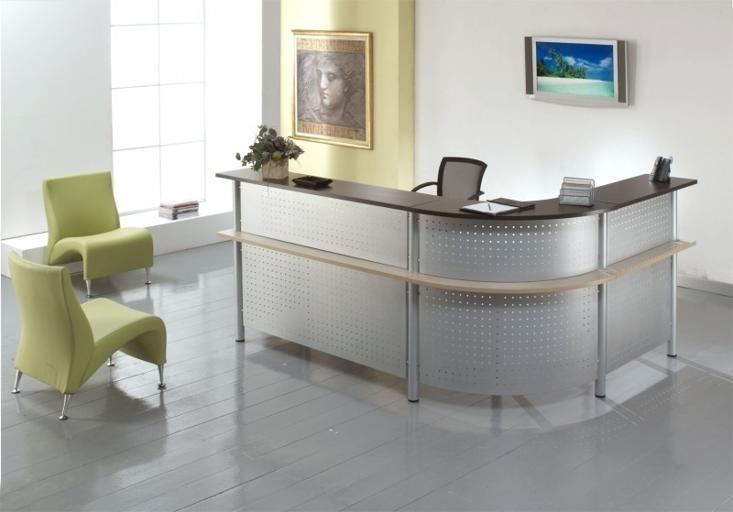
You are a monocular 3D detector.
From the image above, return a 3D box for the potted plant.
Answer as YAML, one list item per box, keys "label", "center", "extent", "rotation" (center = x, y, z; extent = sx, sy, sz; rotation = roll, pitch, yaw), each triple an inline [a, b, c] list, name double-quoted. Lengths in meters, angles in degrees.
- label: "potted plant"
  center: [-0.761, -0.867, 5.120]
  extent: [0.651, 0.396, 0.713]
  rotation: [-1, 11, -8]

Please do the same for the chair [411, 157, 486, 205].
- label: "chair"
  center: [0.996, -0.847, 6.511]
  extent: [0.361, 0.409, 0.738]
  rotation: [-11, 19, -27]
